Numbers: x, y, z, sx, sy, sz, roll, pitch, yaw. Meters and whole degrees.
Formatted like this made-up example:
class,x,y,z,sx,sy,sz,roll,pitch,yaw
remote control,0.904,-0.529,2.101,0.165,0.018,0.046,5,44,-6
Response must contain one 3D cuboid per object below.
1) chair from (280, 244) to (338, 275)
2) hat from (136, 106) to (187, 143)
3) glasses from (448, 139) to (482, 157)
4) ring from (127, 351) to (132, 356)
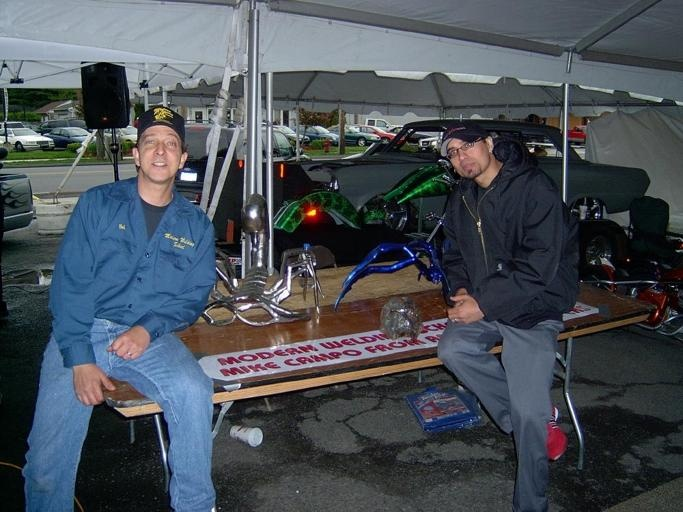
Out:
class,x,y,z,sx,sy,sz,roll,pitch,yaw
chair,-0.277,0.012,4.093,0.309,0.426,0.322,0,-9,-35
hat,-1.019,-0.749,2.742,0.285,0.152,0.345,-4,1,-18
glasses,0.795,-0.697,3.197,0.155,0.041,0.144,-13,-2,-32
ring,-1.046,0.477,2.404,0.020,0.004,0.019,3,36,-2
